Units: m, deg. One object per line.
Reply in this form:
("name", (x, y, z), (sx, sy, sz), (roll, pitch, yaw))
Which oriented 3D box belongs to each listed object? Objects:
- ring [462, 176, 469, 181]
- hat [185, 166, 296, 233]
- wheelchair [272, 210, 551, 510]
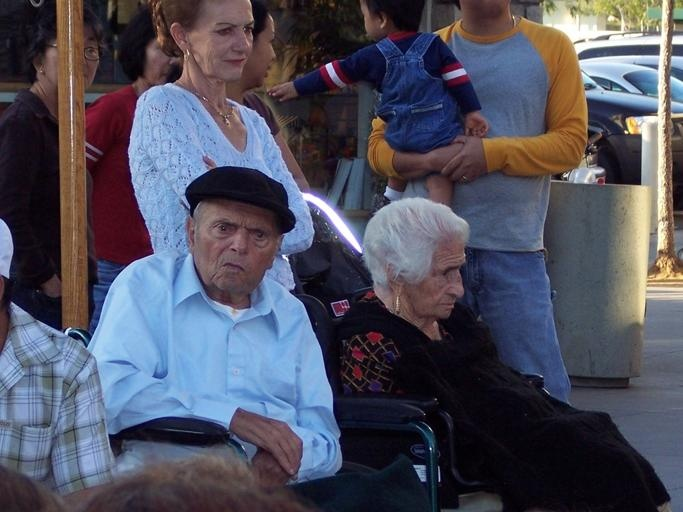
("ring", (0.641, -0.402, 6.648), (0.021, 0.021, 0.007), (1, 8, 26))
("hat", (-0.450, -0.244, 5.733), (0.479, 0.313, 0.200), (-3, 4, -7))
("wheelchair", (0.403, 0.460, 7.066), (1.277, 2.153, 1.276), (-6, -2, 27))
